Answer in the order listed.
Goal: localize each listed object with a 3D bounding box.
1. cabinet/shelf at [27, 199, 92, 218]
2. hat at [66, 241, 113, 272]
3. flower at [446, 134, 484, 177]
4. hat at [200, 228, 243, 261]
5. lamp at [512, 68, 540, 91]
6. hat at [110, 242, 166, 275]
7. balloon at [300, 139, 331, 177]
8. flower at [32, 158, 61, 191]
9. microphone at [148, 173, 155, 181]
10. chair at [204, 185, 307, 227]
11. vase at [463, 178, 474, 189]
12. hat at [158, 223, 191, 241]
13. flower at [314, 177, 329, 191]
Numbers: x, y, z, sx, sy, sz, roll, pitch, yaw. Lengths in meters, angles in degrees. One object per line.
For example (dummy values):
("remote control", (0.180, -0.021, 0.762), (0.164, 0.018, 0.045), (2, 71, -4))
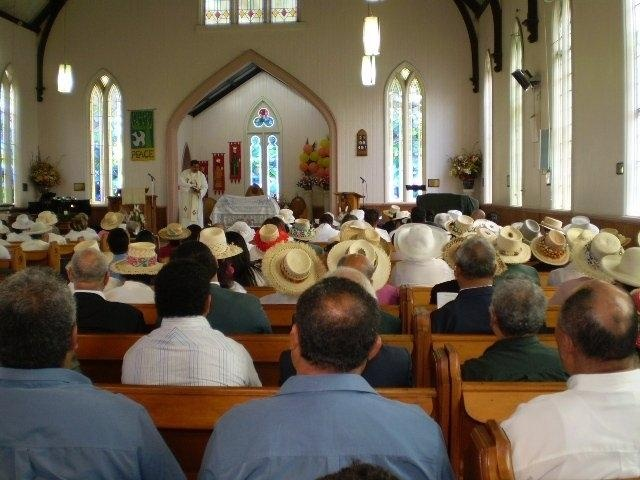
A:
("cabinet/shelf", (-6.120, -0.743, 12.697), (0.782, 0.359, 0.643), (-1, 3, -11))
("hat", (-1.763, 0.125, 4.179), (0.191, 0.094, 0.236), (-3, 22, -7))
("flower", (3.644, -1.906, 13.499), (0.541, 0.801, 0.676), (14, 8, -18))
("hat", (-0.714, 0.023, 4.447), (0.316, 0.154, 0.357), (-4, -16, 17))
("lamp", (3.805, -3.027, 10.125), (0.454, 0.424, 0.699), (1, 5, 10))
("hat", (-1.461, 0.142, 4.398), (0.397, 0.222, 0.429), (6, 3, -17))
("balloon", (-0.123, -2.605, 17.496), (0.400, 1.267, 1.166), (0, 24, -41))
("flower", (-7.249, -1.665, 14.155), (0.585, 0.788, 0.553), (15, -6, -7))
("microphone", (-4.402, -1.656, 14.096), (0.084, 0.094, 0.332), (-22, 56, -36))
("chair", (-1.646, -0.919, 14.372), (1.374, 0.860, 1.485), (1, 2, 5))
("vase", (3.673, -1.399, 13.491), (0.231, 0.277, 0.221), (2, 5, 16))
("hat", (-1.757, -0.021, 6.475), (0.262, 0.094, 0.294), (11, 40, 2))
("flower", (0.092, -1.870, 17.771), (0.297, 0.470, 0.405), (6, 37, 8))
